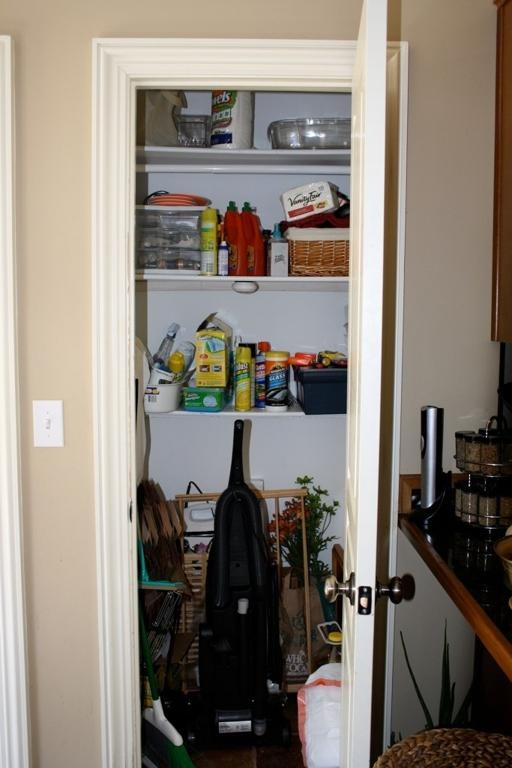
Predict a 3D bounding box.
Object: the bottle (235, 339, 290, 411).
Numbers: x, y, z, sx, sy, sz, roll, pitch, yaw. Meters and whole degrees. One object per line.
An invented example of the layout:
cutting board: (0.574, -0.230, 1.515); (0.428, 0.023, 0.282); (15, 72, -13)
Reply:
bottle: (0.006, -0.030, 2.262); (0.186, 0.224, 0.256); (-3, 6, -8)

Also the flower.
flower: (0.179, 0.610, 2.426); (0.263, 0.500, 0.215); (-1, 5, 7)

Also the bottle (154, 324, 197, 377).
bottle: (-0.281, -0.115, 2.291); (0.090, 0.059, 0.160); (17, 40, -6)

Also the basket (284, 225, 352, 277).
basket: (0.200, -0.420, 2.117); (0.151, 0.119, 0.164); (0, 0, -2)

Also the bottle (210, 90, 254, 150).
bottle: (-0.077, -0.801, 1.968); (0.124, 0.169, 0.118); (-2, 5, 0)

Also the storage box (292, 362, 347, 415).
storage box: (0.217, 0.023, 2.159); (0.159, 0.150, 0.133); (-1, 6, 7)

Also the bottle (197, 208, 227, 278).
bottle: (-0.138, -0.449, 2.078); (0.088, 0.213, 0.091); (-2, 5, 0)
